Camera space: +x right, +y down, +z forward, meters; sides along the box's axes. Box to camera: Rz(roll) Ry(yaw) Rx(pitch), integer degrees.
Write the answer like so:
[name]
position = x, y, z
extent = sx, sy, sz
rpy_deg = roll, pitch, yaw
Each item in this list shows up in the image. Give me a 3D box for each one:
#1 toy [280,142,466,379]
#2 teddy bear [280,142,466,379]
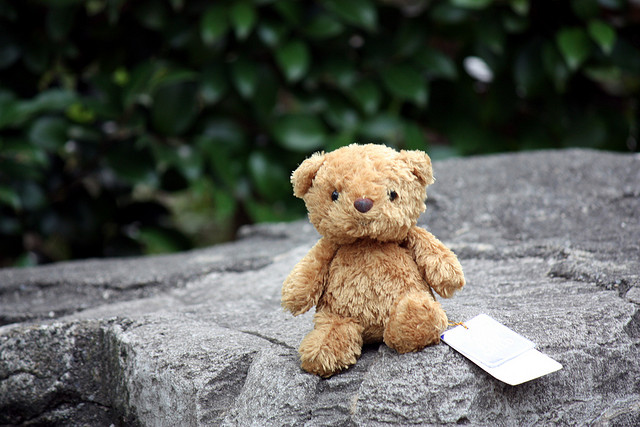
[toy]
position = 0.268, 0.254, 4.569
extent = 0.692, 0.883, 1.303
rpy_deg = -1, 95, -3
[teddy bear]
position = 0.258, 0.164, 4.633
extent = 1.223, 1.446, 0.958
rpy_deg = -5, 11, 5
